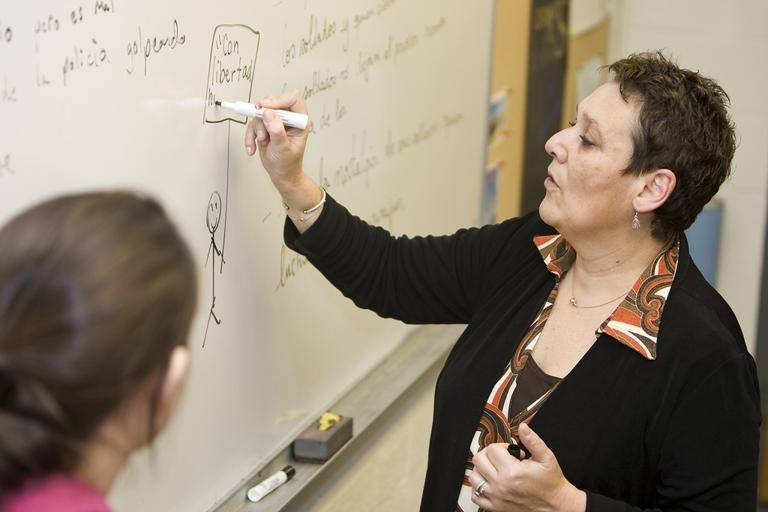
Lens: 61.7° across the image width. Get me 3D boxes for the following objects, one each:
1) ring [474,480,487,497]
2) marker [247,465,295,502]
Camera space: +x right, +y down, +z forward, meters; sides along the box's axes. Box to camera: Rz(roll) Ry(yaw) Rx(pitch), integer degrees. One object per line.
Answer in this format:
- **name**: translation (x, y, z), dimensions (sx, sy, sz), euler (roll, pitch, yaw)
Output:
- **ring**: translation (0.186, 0.449, 1.250), dimensions (0.020, 0.030, 0.033), euler (0, -7, 27)
- **marker**: translation (-0.230, 0.466, 1.329), dimensions (0.030, 0.029, 0.107), euler (13, 26, 37)
